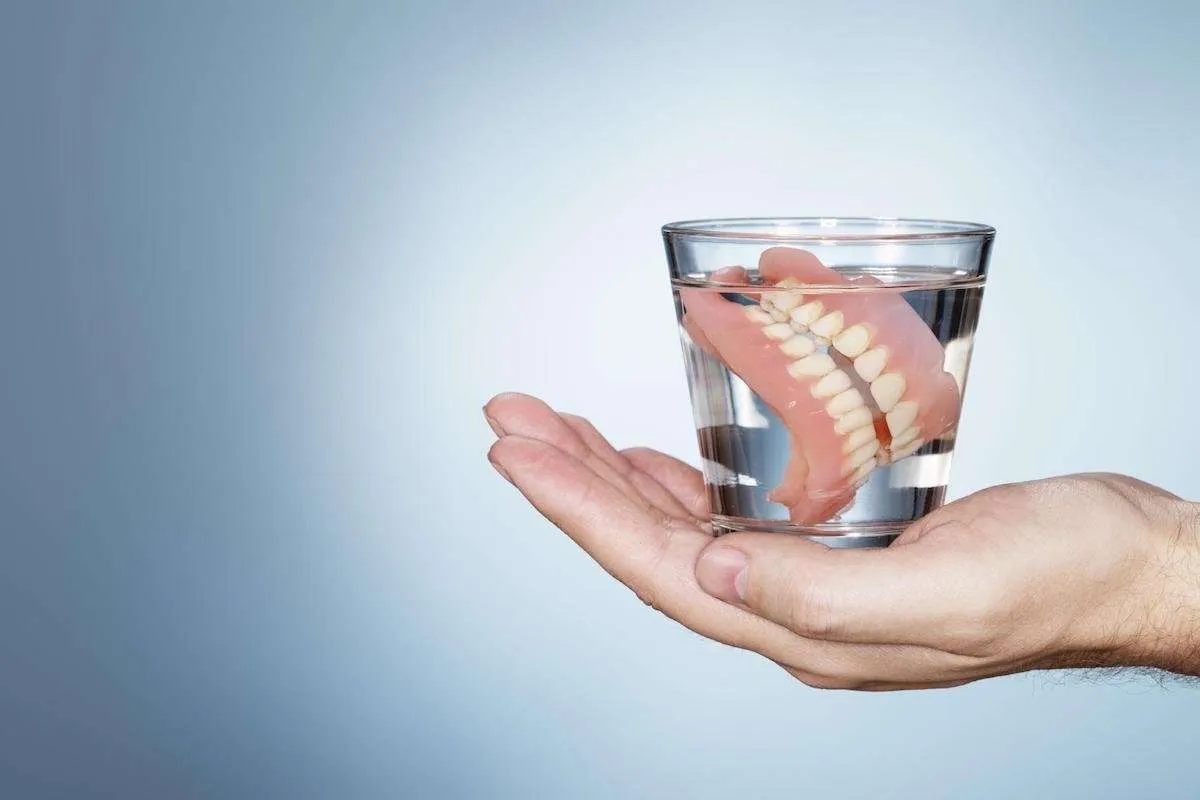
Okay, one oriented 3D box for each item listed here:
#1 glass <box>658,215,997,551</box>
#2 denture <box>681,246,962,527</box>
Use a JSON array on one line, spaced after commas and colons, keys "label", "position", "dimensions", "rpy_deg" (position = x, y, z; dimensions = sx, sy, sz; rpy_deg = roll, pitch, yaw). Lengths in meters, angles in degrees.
[{"label": "glass", "position": [0.212, -0.031, 1.287], "dimensions": [0.403, 0.363, 0.366], "rpy_deg": [-1, 0, -10]}, {"label": "denture", "position": [0.231, -0.048, 1.147], "dimensions": [0.288, 0.129, 0.257], "rpy_deg": [30, -17, 34]}]
